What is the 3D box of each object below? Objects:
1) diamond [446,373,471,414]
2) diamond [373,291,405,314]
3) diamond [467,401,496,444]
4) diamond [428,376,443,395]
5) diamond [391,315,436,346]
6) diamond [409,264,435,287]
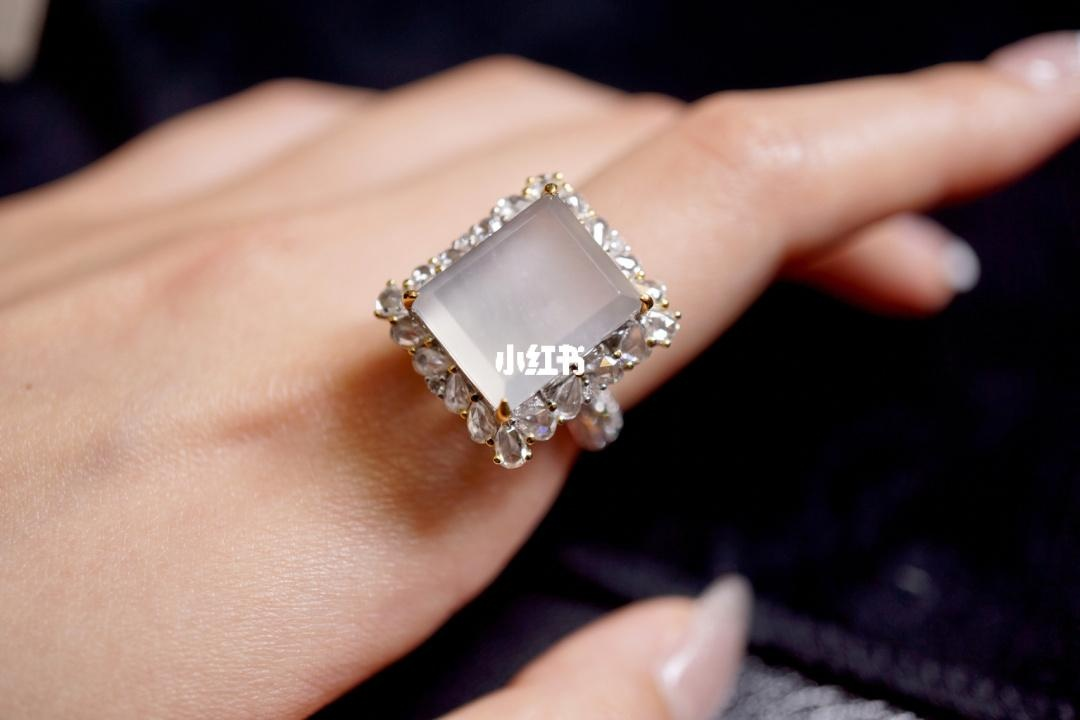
[{"bbox_3d":[-0.100,0.039,1.212,0.033,0.011,0.046,4,93,10],"label":"diamond"},{"bbox_3d":[-0.183,-0.069,1.216,0.029,0.019,0.032,-14,89,-3],"label":"diamond"},{"bbox_3d":[-0.070,0.074,1.207,0.044,0.017,0.045,-4,93,-1],"label":"diamond"},{"bbox_3d":[-0.128,0.029,1.220,0.017,0.006,0.024,-13,108,15],"label":"diamond"},{"bbox_3d":[-0.159,-0.034,1.215,0.039,0.040,0.017,23,70,20],"label":"diamond"},{"bbox_3d":[-0.145,-0.104,1.233,0.025,0.013,0.028,-3,51,0],"label":"diamond"}]
